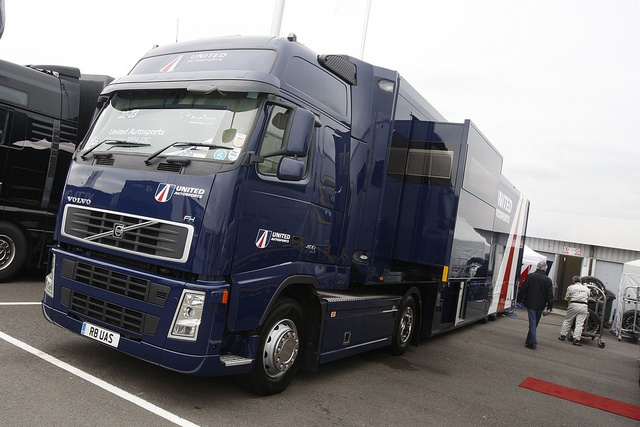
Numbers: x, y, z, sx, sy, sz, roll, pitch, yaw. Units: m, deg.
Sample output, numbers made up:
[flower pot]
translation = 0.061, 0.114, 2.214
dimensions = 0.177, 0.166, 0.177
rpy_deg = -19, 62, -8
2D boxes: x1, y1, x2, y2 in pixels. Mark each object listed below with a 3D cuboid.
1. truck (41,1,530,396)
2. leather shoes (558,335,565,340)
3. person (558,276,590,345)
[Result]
[truck]
translation = 0.974, 0.587, 9.574
dimensions = 4.064, 4.167, 12.173
rpy_deg = 9, -3, 37
[leather shoes]
translation = 8.960, 4.655, 13.830
dimensions = 0.197, 0.199, 0.190
rpy_deg = 5, -3, -3
[person]
translation = 9.290, 3.562, 13.559
dimensions = 0.720, 2.410, 1.263
rpy_deg = 8, -5, 36
